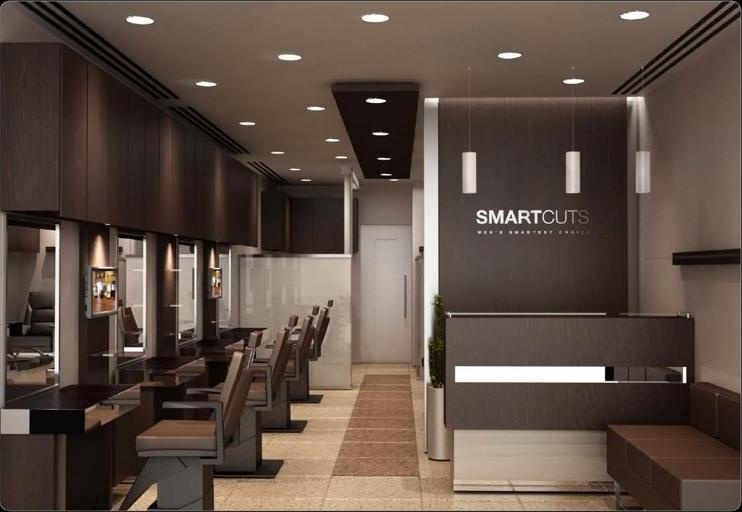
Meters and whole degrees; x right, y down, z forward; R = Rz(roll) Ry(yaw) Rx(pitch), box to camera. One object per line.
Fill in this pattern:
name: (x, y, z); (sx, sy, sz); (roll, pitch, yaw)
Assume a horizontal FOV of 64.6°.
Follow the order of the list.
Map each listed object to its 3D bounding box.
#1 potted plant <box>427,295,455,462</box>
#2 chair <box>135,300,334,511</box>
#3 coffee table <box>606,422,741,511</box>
potted plant: (0.693, 1.224, 6.093); (0.257, 1.248, 0.255); (2, -7, 3)
chair: (-1.247, 1.429, 5.474); (0.861, 1.394, 2.406); (0, 2, 7)
coffee table: (2.402, 1.718, 4.612); (0.768, 0.430, 1.062); (0, 1, 6)
